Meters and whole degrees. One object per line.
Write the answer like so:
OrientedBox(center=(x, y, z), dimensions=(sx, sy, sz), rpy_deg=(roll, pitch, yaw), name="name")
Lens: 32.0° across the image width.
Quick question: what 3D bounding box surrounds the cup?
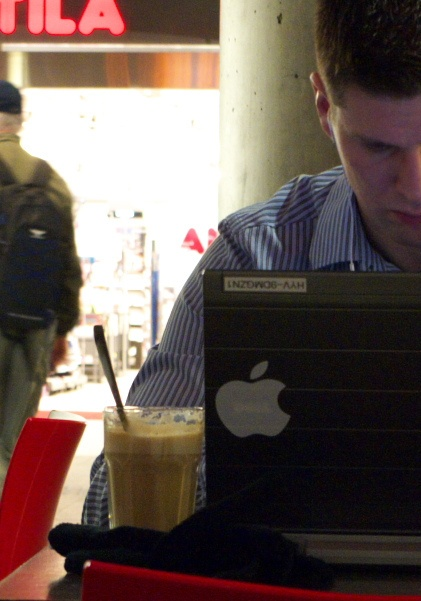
OrientedBox(center=(-0.057, 0.164, 0.761), dimensions=(0.120, 0.155, 0.115), rpy_deg=(0, -9, 0), name="cup")
